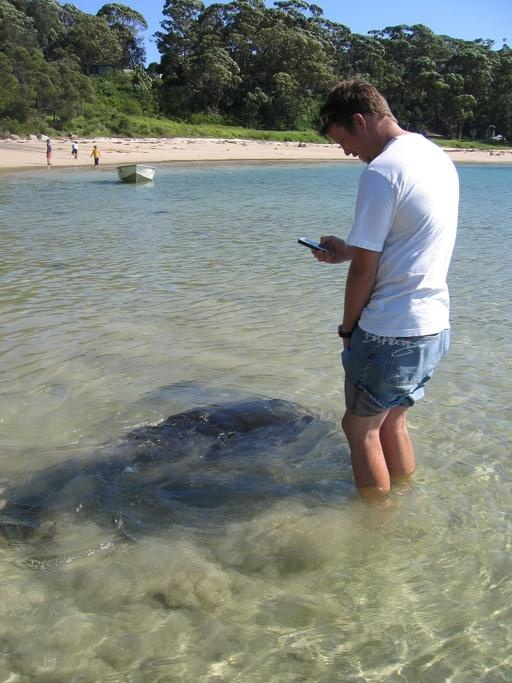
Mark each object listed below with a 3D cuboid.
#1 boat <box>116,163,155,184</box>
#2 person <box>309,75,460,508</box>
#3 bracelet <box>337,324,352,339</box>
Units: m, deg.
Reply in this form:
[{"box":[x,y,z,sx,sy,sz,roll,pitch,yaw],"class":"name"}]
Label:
[{"box":[-5.031,-7.084,26.015,1.402,0.786,1.253,-5,16,-29],"class":"boat"},{"box":[0.585,-0.118,2.804,0.736,2.038,0.675,5,15,3],"class":"person"},{"box":[0.397,-0.039,2.721,0.058,0.035,0.069,1,5,4],"class":"bracelet"}]
